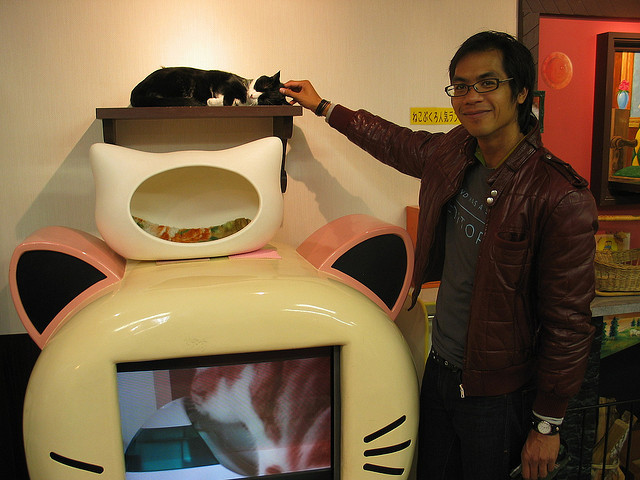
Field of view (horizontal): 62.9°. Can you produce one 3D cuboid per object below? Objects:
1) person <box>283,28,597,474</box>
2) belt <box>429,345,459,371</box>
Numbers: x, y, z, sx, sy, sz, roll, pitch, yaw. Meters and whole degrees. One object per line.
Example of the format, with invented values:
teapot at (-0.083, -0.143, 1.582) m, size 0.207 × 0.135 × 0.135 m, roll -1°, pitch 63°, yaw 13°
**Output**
person at (0.473, 0.084, 1.650) m, size 0.735 × 1.341 × 0.274 m, roll -7°, pitch -3°, yaw 45°
belt at (0.386, 0.375, 1.655) m, size 0.028 × 0.065 × 0.149 m, roll -5°, pitch -2°, yaw -16°
